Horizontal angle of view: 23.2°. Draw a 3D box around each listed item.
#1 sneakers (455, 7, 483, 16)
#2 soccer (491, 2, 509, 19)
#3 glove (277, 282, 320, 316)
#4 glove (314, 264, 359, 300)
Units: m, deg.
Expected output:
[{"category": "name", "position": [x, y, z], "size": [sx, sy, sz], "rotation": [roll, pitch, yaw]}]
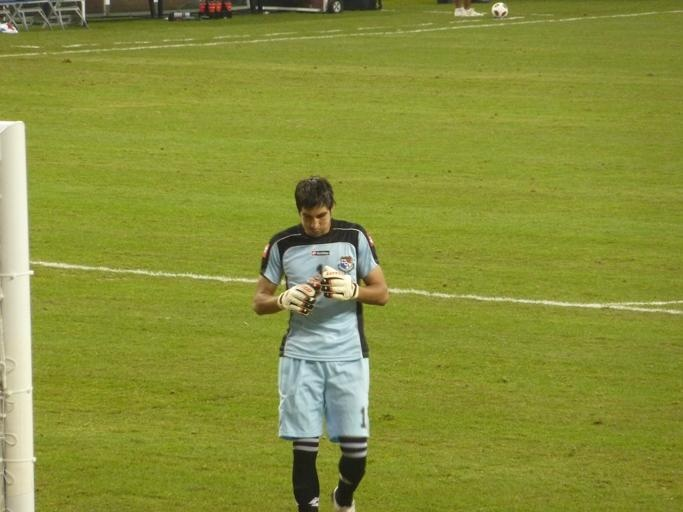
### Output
[{"category": "sneakers", "position": [2.866, -5.367, 36.931], "size": [0.705, 0.252, 0.228], "rotation": [2, 19, 9]}, {"category": "soccer", "position": [3.435, -5.268, 35.922], "size": [0.304, 0.306, 0.596], "rotation": [-2, 10, 2]}, {"category": "glove", "position": [-0.441, 0.473, 17.395], "size": [0.358, 0.138, 0.345], "rotation": [-9, 7, 14]}, {"category": "glove", "position": [-0.100, 0.209, 17.580], "size": [0.438, 0.226, 0.561], "rotation": [-1, 24, -25]}]
